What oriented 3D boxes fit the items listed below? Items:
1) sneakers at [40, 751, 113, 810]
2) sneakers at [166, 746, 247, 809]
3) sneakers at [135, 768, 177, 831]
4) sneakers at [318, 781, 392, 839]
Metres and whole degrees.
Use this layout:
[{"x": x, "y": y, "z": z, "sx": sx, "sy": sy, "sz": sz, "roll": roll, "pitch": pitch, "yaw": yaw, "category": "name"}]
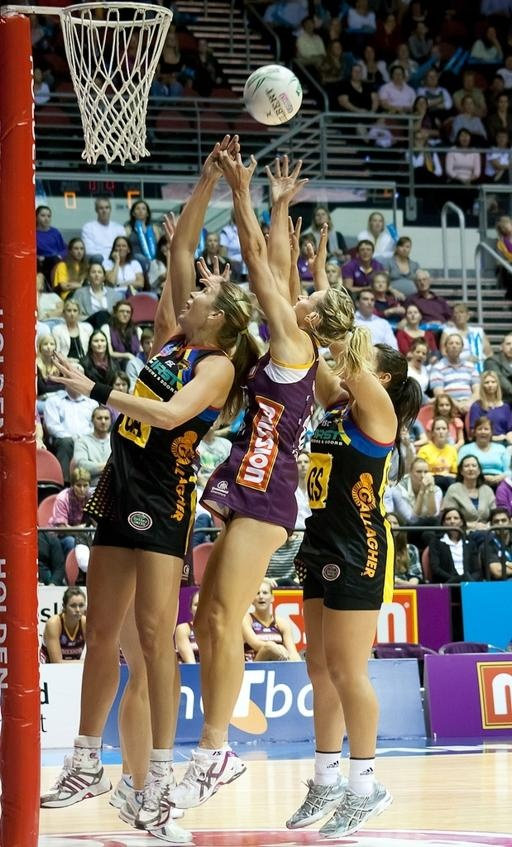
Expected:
[{"x": -0.713, "y": 1.356, "z": 3.319, "sx": 0.304, "sy": 0.202, "sz": 0.108, "roll": -2, "pitch": -13, "yaw": -42, "category": "sneakers"}, {"x": -0.187, "y": 1.228, "z": 3.048, "sx": 0.332, "sy": 0.153, "sz": 0.122, "roll": -16, "pitch": 14, "yaw": -41, "category": "sneakers"}, {"x": -0.365, "y": 1.355, "z": 3.058, "sx": 0.104, "sy": 0.118, "sz": 0.276, "roll": 1, "pitch": -7, "yaw": 4, "category": "sneakers"}, {"x": 0.379, "y": 1.525, "z": 3.384, "sx": 0.304, "sy": 0.235, "sz": 0.131, "roll": 2, "pitch": -5, "yaw": -31, "category": "sneakers"}]
